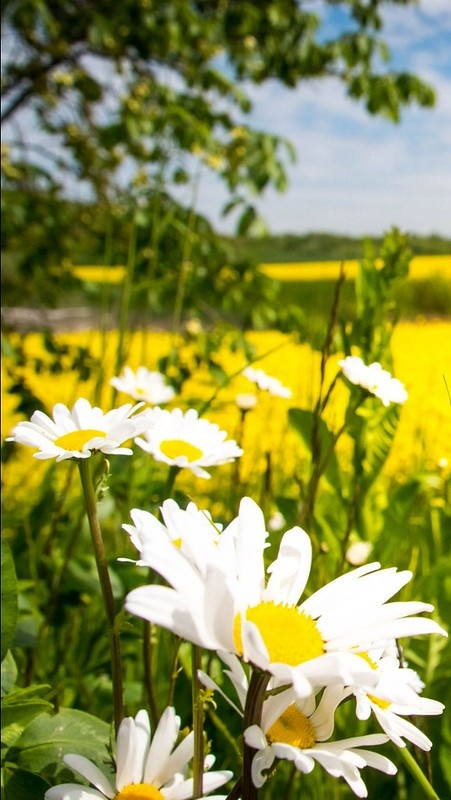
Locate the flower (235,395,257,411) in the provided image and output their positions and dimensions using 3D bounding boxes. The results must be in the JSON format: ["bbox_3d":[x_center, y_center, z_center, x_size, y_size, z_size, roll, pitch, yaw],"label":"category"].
[{"bbox_3d":[0.017,0.002,0.646,0.015,0.017,0.021,9,10,-1],"label":"flower"}]

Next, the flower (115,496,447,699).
[{"bbox_3d":[0.026,0.094,0.354,0.117,0.043,0.110,12,22,-50],"label":"flower"}]

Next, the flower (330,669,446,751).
[{"bbox_3d":[0.073,0.149,0.383,0.057,0.023,0.056,21,4,-38],"label":"flower"}]

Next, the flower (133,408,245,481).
[{"bbox_3d":[-0.026,0.039,0.548,0.057,0.022,0.056,8,27,-28],"label":"flower"}]

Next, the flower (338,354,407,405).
[{"bbox_3d":[0.097,-0.013,0.513,0.042,0.027,0.039,8,10,-8],"label":"flower"}]

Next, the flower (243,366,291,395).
[{"bbox_3d":[0.026,-0.012,0.617,0.023,0.006,0.038,-24,38,-29],"label":"flower"}]
